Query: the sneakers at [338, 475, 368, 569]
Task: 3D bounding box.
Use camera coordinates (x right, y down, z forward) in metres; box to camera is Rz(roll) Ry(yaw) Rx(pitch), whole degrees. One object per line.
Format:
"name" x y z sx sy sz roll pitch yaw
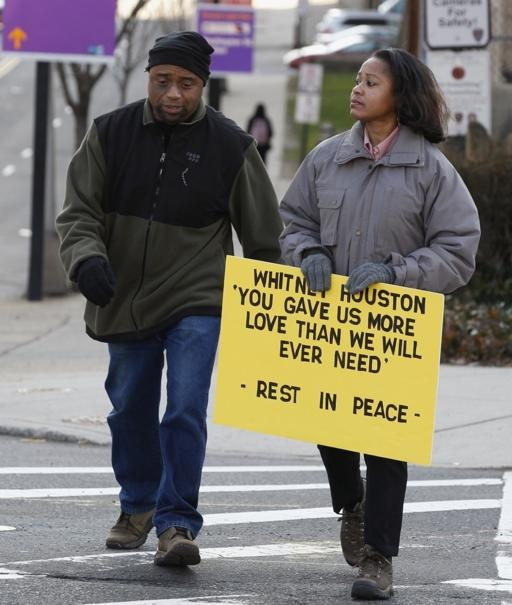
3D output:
"sneakers" 0.402 0.920 5.953 0.131 0.137 0.410 -7 24 13

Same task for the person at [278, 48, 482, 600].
"person" 0.479 0.052 5.802 0.583 2.101 0.756 -3 7 -33

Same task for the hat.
"hat" -0.333 -1.002 5.995 0.251 0.211 0.212 6 -16 15

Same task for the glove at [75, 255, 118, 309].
"glove" -0.642 -0.064 5.803 0.081 0.181 0.241 3 -34 21

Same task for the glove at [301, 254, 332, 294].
"glove" 0.236 -0.109 5.682 0.107 0.149 0.044 -1 3 38

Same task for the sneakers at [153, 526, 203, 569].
"sneakers" -0.314 0.988 5.809 0.175 0.173 0.171 1 7 -4

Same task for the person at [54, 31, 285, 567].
"person" -0.359 -0.020 5.985 0.906 2.157 0.588 0 6 -8

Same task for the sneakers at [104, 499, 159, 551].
"sneakers" -0.524 0.944 6.222 0.135 0.166 0.378 -1 8 18

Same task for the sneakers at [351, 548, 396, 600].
"sneakers" 0.444 1.030 5.524 0.143 0.175 0.218 3 7 14

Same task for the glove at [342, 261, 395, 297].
"glove" 0.440 -0.095 5.585 0.156 0.104 0.054 -15 5 6
